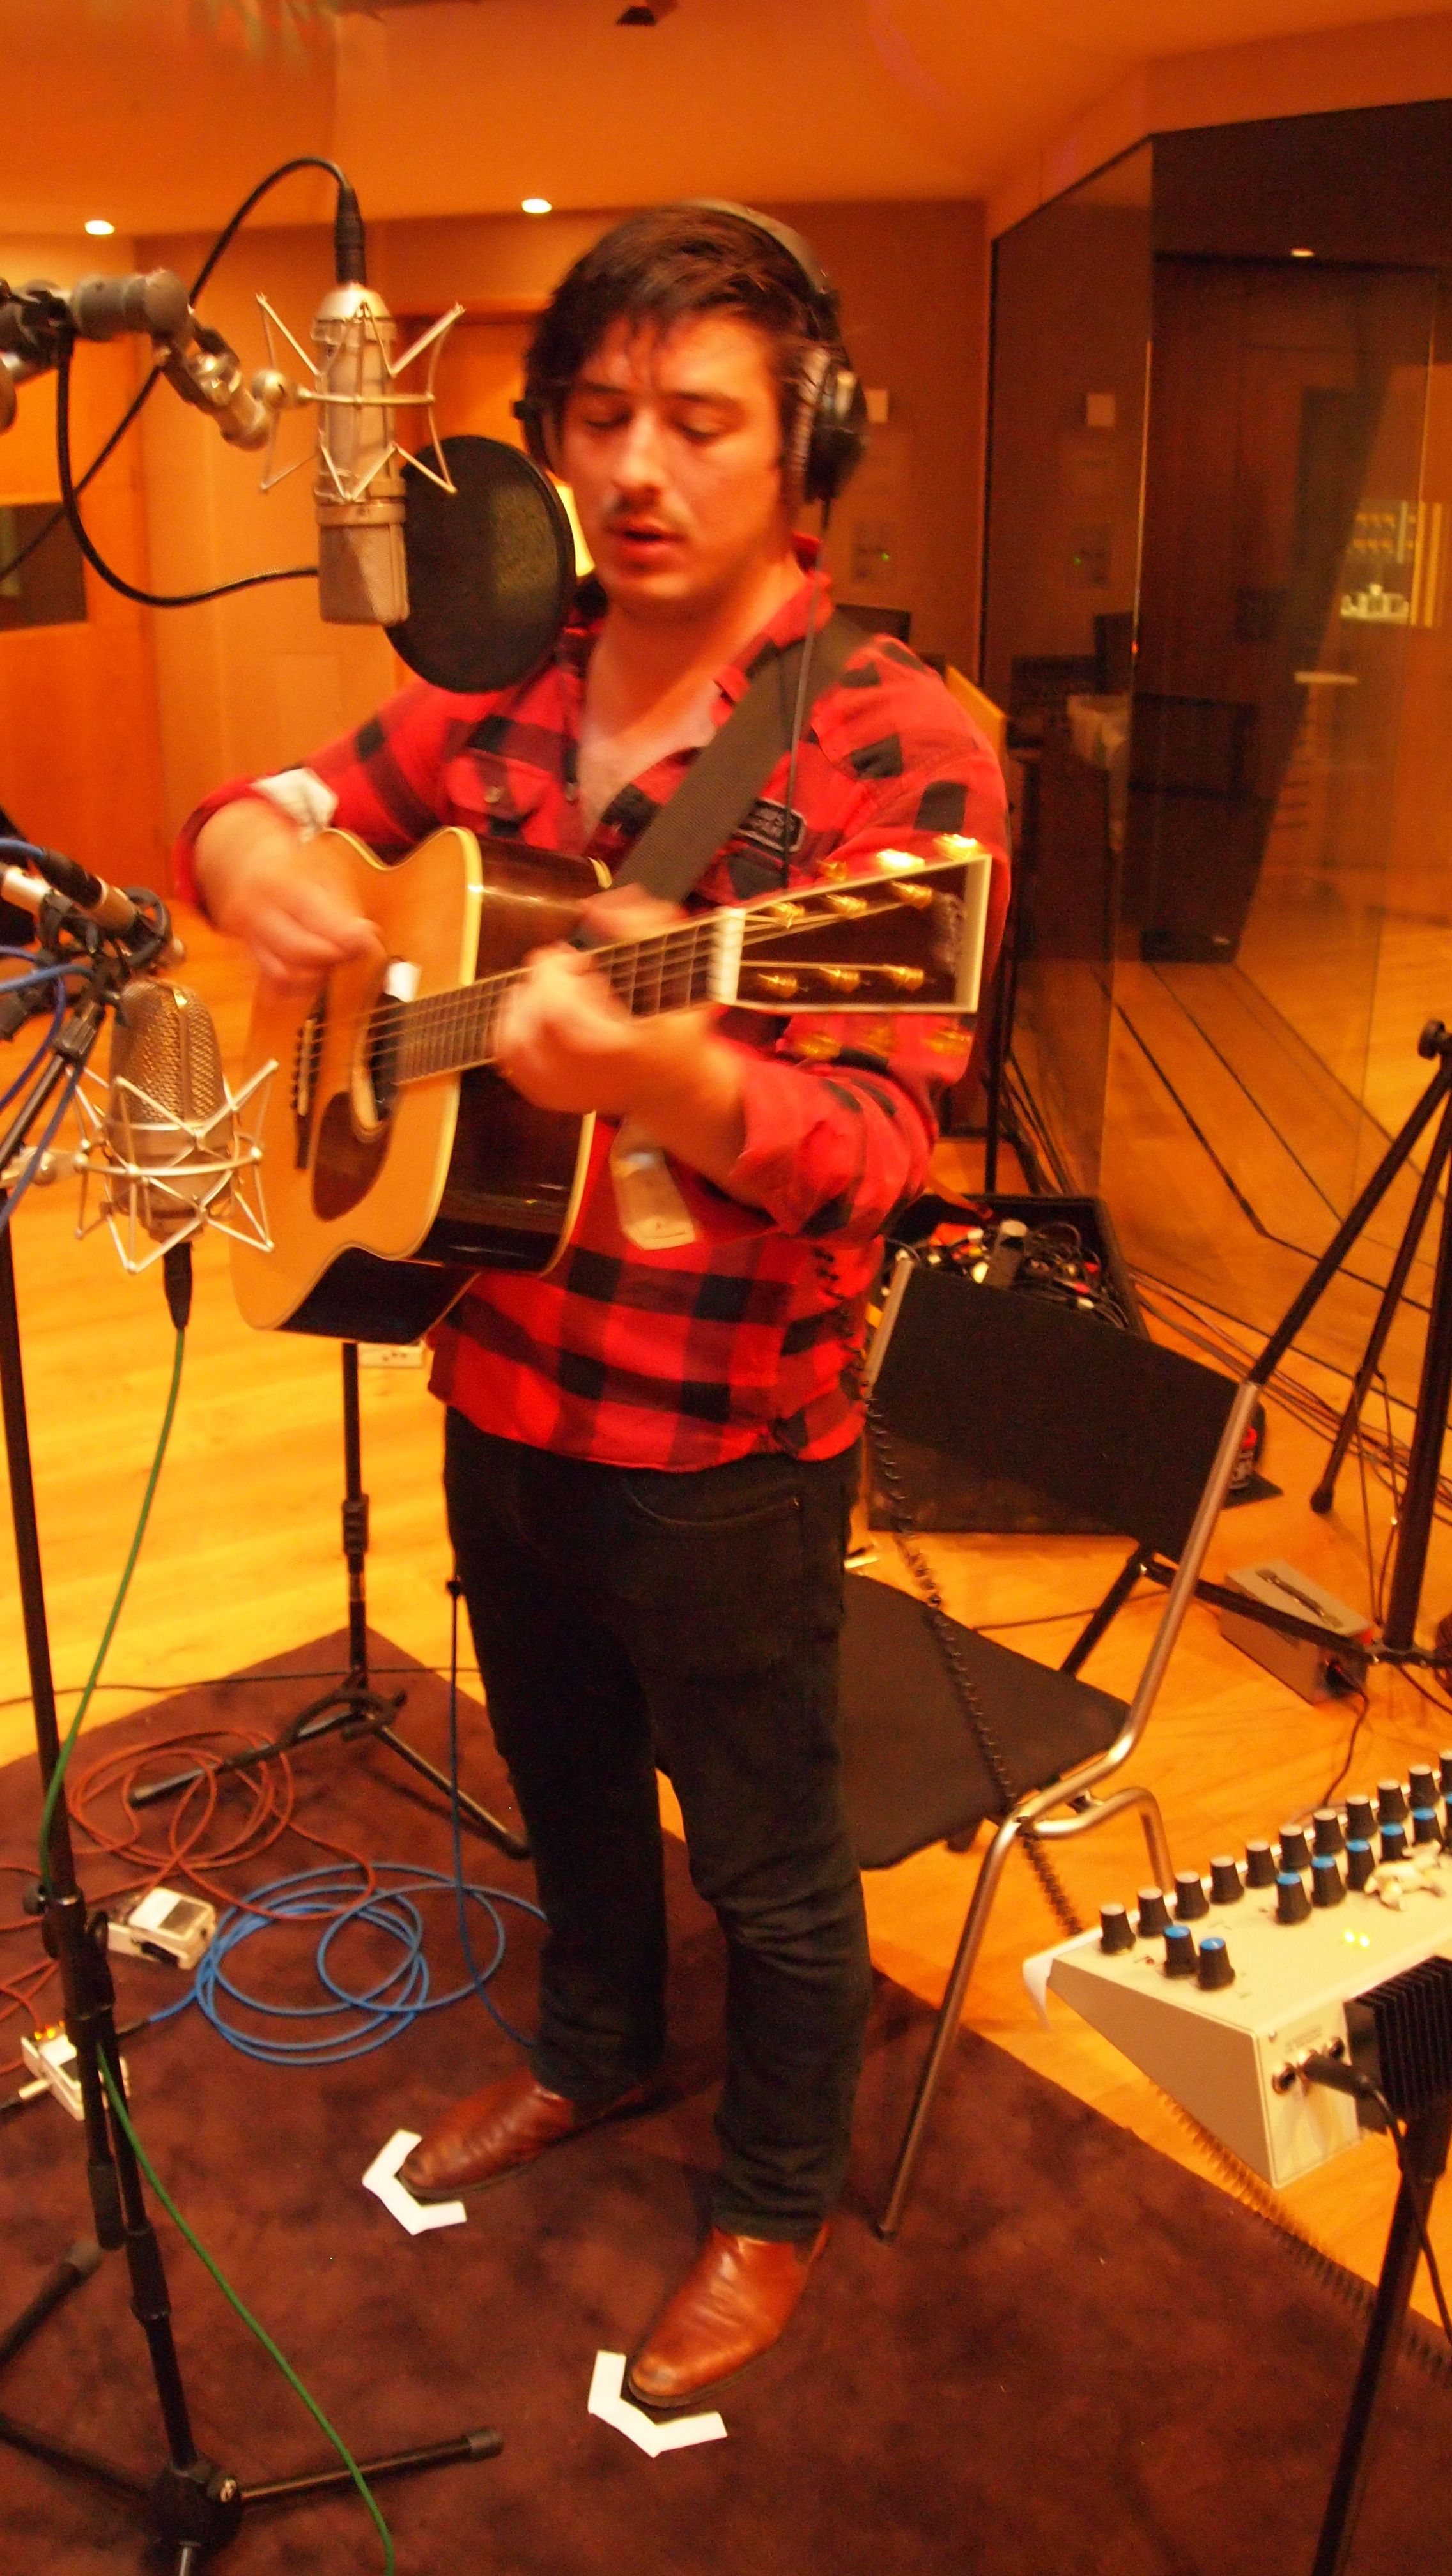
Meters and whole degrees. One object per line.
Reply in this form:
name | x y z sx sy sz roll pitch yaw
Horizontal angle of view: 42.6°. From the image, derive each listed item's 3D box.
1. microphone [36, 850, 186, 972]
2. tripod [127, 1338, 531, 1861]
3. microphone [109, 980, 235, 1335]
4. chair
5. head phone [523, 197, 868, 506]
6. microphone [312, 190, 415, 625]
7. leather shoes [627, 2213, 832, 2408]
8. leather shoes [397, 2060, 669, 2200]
microphone | -0.342 -0.213 1.042 0.022 0.049 0.069 -20 -28 14
tripod | -0.575 0.474 2.649 0.417 0.605 0.413 -14 32 -36
microphone | -0.327 -0.080 1.103 0.073 0.207 0.179 -4 22 -16
chair | 0.150 0.330 2.396 0.781 1.258 0.666 -17 27 -37
head phone | -0.008 -0.607 1.234 0.174 0.197 0.170 9 66 10
microphone | -0.271 -0.646 1.369 0.063 0.309 0.218 -2 21 -10
leather shoes | 0.009 0.904 1.713 0.077 0.102 0.240 7 10 27
leather shoes | -0.213 0.843 1.966 0.282 0.133 0.101 -8 31 -20
